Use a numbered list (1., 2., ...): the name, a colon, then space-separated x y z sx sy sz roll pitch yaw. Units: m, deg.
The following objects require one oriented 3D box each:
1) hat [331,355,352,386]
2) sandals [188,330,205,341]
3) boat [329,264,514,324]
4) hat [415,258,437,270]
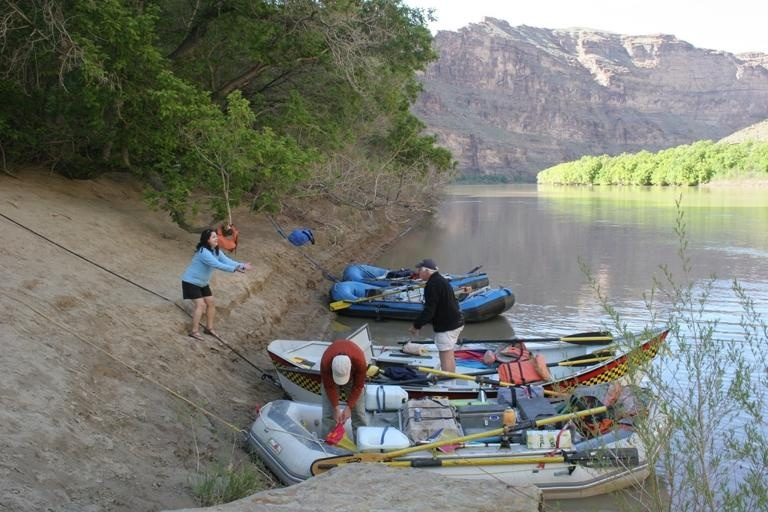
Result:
1. hat: -0.987 2.556 19.335 0.445 0.708 0.378 4 3 4
2. sandals: -4.990 2.137 22.870 0.347 0.137 0.177 4 22 10
3. boat: 1.044 1.336 28.624 4.104 1.057 2.781 4 12 13
4. hat: 1.076 0.202 22.239 0.422 0.226 0.295 2 -1 17
